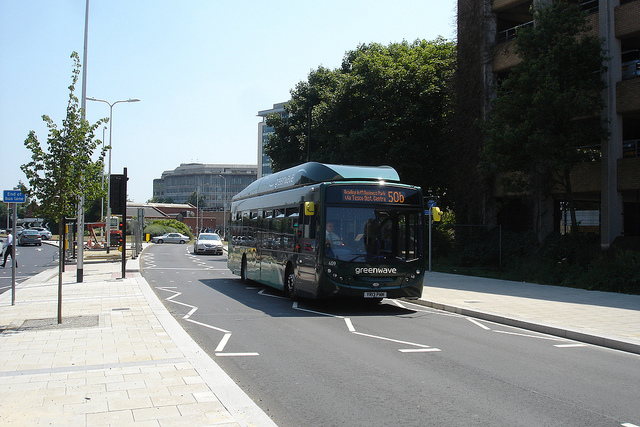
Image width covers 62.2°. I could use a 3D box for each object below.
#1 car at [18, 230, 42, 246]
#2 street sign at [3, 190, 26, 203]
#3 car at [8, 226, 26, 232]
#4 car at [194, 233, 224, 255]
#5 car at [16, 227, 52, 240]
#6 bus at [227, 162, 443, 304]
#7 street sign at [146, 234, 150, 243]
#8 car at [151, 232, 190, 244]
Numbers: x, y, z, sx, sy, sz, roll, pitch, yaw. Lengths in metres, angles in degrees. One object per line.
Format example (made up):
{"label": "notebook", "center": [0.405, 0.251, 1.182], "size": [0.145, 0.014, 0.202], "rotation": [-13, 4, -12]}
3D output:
{"label": "car", "center": [-33.783, 2.850, 61.652], "size": [1.479, 1.168, 3.343], "rotation": [0, 1, -24]}
{"label": "street sign", "center": [-9.152, -0.512, 15.899], "size": [0.465, 0.384, 1.437], "rotation": [3, -4, -42]}
{"label": "car", "center": [-31.405, 1.626, 55.019], "size": [1.610, 0.756, 1.037], "rotation": [-1, -3, 42]}
{"label": "car", "center": [-9.782, 2.633, 46.287], "size": [2.289, 1.819, 2.483], "rotation": [2, -3, -15]}
{"label": "car", "center": [-37.036, 2.623, 68.408], "size": [3.751, 1.420, 1.695], "rotation": [3, -2, -1]}
{"label": "bus", "center": [-0.577, 0.644, 20.569], "size": [3.602, 4.879, 11.446], "rotation": [4, -3, -24]}
{"label": "street sign", "center": [-25.365, 3.549, 77.779], "size": [0.381, 1.023, 1.492], "rotation": [1, -3, -12]}
{"label": "car", "center": [-21.130, 3.443, 74.846], "size": [4.387, 1.441, 2.055], "rotation": [2, -3, -24]}
